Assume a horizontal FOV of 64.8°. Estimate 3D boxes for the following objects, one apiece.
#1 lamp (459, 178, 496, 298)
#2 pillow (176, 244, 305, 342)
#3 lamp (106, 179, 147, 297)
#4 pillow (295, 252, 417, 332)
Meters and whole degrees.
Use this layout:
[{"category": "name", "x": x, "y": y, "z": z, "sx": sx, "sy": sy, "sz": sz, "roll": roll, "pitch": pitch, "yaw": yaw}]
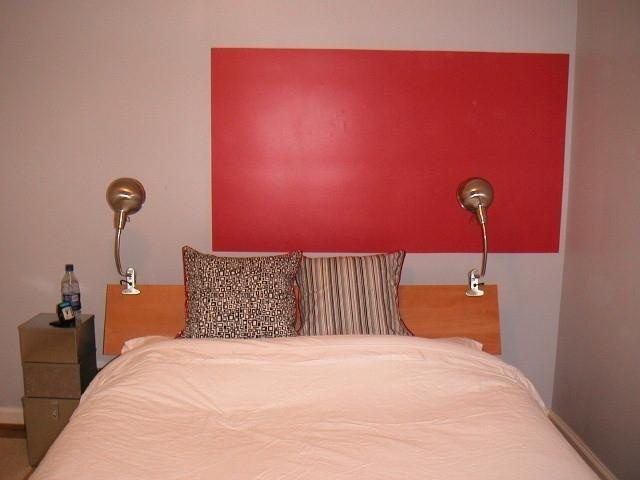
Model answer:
[{"category": "lamp", "x": 1.004, "y": -0.017, "z": 3.302, "sx": 0.205, "sy": 0.767, "sz": 0.417, "roll": 1, "pitch": 5, "yaw": 16}, {"category": "pillow", "x": -0.463, "y": 0.311, "z": 2.980, "sx": 0.719, "sy": 0.530, "sz": 0.354, "roll": -1, "pitch": 5, "yaw": -6}, {"category": "lamp", "x": -1.244, "y": -0.030, "z": 3.279, "sx": 0.221, "sy": 0.750, "sz": 0.406, "roll": -2, "pitch": 5, "yaw": -19}, {"category": "pillow", "x": 0.166, "y": 0.392, "z": 3.266, "sx": 0.508, "sy": 0.519, "sz": 0.156, "roll": -1, "pitch": -12, "yaw": 1}]
